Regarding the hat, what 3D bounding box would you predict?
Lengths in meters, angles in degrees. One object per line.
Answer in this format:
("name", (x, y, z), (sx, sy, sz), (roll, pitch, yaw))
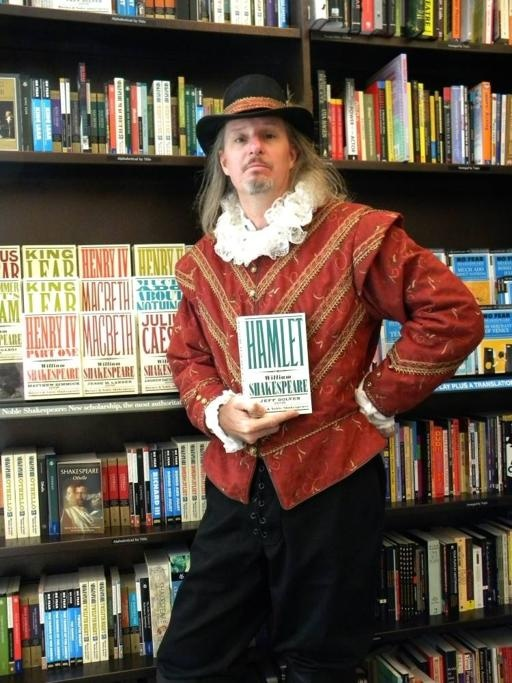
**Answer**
("hat", (-0.024, -0.620, 1.878), (0.287, 0.119, 0.318), (15, 40, 28))
